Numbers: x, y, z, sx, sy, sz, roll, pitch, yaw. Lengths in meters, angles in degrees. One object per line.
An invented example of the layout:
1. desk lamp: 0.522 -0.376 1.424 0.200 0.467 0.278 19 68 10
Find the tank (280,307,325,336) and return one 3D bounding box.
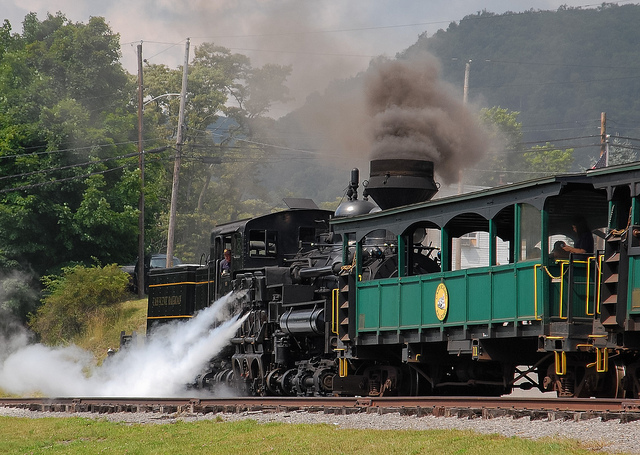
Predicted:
1. tank: -0.379 2.911 30.096 0.821 0.796 1.694 -22 9 -41

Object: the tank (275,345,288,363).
1. tank: -1.214 4.064 30.961 0.523 0.770 0.479 0 -5 -7
